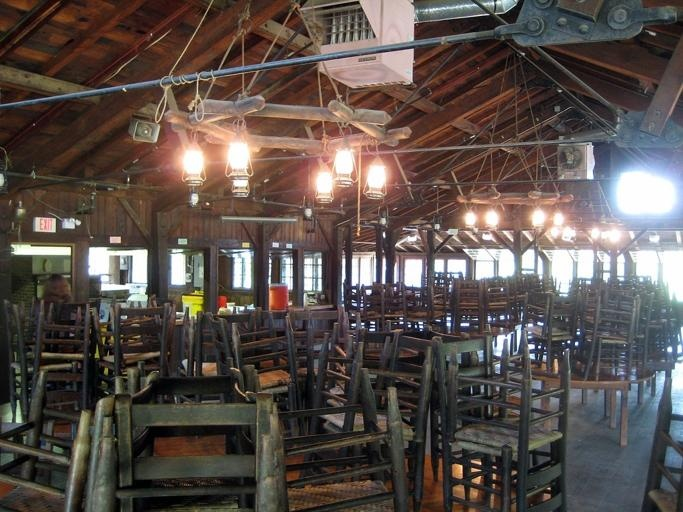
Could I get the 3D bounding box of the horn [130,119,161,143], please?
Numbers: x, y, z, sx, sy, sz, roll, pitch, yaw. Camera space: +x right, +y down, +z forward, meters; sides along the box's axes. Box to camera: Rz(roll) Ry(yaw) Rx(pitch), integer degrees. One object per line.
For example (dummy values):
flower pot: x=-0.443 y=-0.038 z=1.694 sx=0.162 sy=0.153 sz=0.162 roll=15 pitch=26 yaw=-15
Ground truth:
horn: x=-2.339 y=-1.441 z=7.281 sx=0.345 sy=0.262 sz=0.526 roll=-1 pitch=12 yaw=-24
